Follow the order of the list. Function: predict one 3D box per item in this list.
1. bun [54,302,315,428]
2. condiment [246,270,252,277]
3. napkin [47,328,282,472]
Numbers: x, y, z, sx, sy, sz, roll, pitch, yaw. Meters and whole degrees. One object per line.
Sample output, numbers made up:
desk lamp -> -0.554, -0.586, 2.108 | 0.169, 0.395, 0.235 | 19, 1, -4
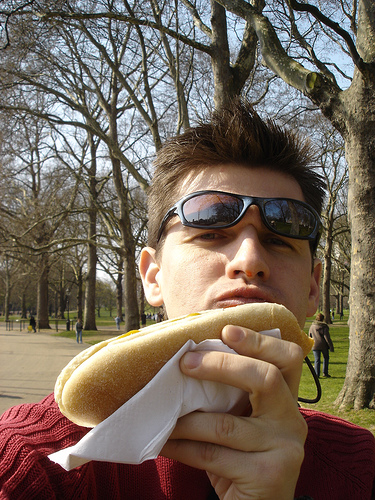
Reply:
bun -> -0.029, 0.309, 1.447 | 0.587, 0.155, 0.433 | -22, -9, 2
condiment -> 0.206, 0.080, 1.700 | 0.017, 0.018, 0.008 | -7, -7, 10
napkin -> -0.083, 0.437, 1.469 | 0.576, 0.365, 0.204 | 4, -9, -12
